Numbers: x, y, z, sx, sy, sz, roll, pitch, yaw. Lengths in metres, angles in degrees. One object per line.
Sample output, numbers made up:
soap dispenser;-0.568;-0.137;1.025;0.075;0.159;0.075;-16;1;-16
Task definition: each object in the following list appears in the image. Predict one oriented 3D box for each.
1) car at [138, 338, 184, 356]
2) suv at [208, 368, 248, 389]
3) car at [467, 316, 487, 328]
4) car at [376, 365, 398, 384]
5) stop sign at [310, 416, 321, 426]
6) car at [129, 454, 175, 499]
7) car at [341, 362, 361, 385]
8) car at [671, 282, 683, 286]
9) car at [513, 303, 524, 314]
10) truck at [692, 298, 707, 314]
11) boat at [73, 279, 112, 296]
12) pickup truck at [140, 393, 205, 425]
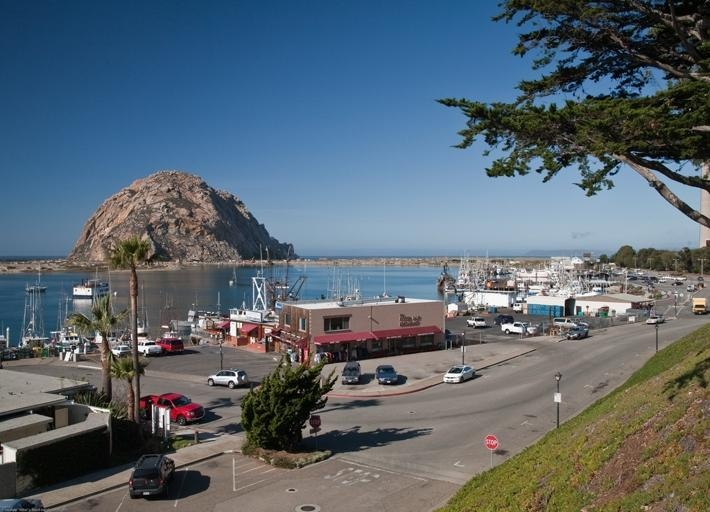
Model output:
car;-20.205;9.306;63.627;3.735;1.092;1.931;-1;-1;32
suv;-10.201;9.615;49.257;2.970;1.325;0.794;-3;-4;18
car;15.720;8.316;79.722;1.284;0.849;2.141;-1;4;-28
car;2.554;9.384;49.654;1.643;1.254;2.123;-2;-4;-3
stop sign;-2.269;9.188;34.959;0.525;0.631;0.651;-1;-4;-14
car;-10.171;10.744;31.053;1.257;0.929;2.557;2;7;-3
car;-0.340;9.439;50.501;1.315;0.920;2.720;-2;-5;4
car;74.322;5.845;141.827;2.495;0.806;1.343;2;-2;2
car;25.985;8.008;98.185;1.188;0.974;2.165;4;8;34
truck;47.178;6.669;84.022;2.142;1.666;2.949;-1;-1;19
boat;-79.739;9.087;186.321;8.656;4.578;13.587;0;-1;8
pickup truck;-12.309;10.128;41.331;4.316;1.322;1.800;0;2;26
